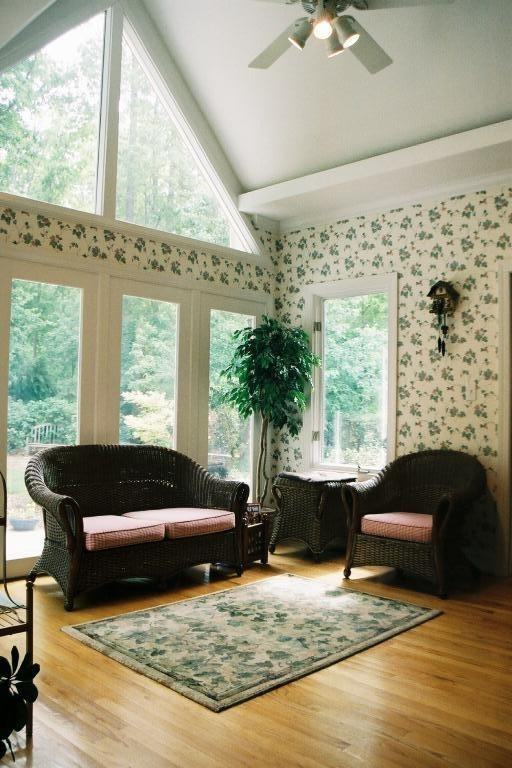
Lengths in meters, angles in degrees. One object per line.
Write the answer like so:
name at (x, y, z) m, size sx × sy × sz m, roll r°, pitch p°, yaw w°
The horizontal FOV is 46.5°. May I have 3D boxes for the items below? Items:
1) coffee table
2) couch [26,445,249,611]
coffee table at (0.418, 0.970, 4.558) m, size 0.539 × 0.579 × 0.584 m, roll 5°, pitch -6°, yaw 6°
couch at (-0.773, 0.804, 3.656) m, size 0.756 × 0.826 × 1.344 m, roll -5°, pitch -6°, yaw 43°
